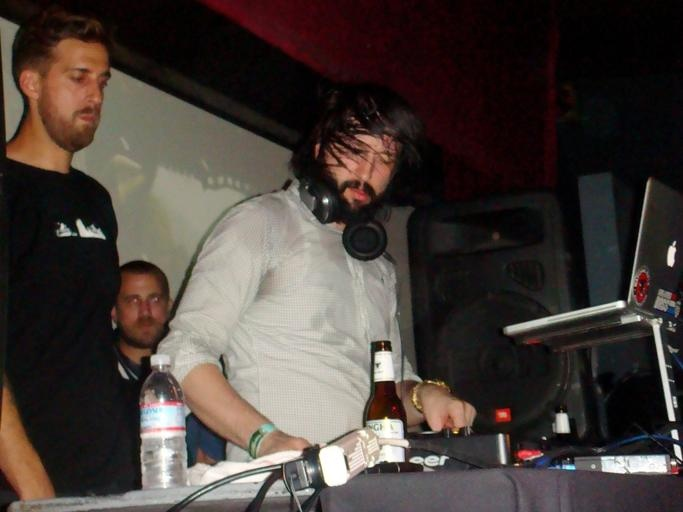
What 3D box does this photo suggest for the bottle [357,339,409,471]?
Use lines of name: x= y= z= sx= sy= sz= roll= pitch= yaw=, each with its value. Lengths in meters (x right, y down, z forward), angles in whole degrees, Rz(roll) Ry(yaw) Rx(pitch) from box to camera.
bottle: x=0.084 y=0.287 z=1.149 sx=0.071 sy=0.248 sz=0.077 roll=5 pitch=6 yaw=-1

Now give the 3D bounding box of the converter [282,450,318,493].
converter: x=-0.058 y=0.313 z=0.861 sx=0.060 sy=0.048 sz=0.022 roll=-19 pitch=-3 yaw=-3

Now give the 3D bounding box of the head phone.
head phone: x=-0.010 y=-0.133 z=1.747 sx=0.096 sy=0.294 sz=0.254 roll=-42 pitch=-28 yaw=8

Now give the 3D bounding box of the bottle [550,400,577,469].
bottle: x=0.768 y=0.626 z=2.082 sx=0.083 sy=0.203 sz=0.085 roll=3 pitch=-13 yaw=1

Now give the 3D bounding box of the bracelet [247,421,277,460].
bracelet: x=-0.156 y=0.363 z=1.180 sx=0.057 sy=0.062 sz=0.045 roll=1 pitch=-9 yaw=-10

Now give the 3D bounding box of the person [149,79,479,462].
person: x=-0.038 y=0.182 z=1.683 sx=0.638 sy=1.273 sz=0.862 roll=1 pitch=-1 yaw=41
